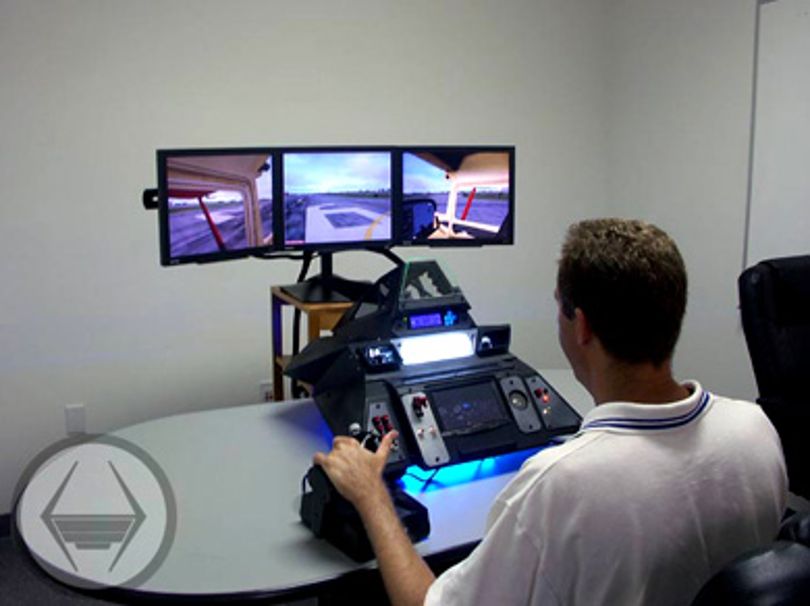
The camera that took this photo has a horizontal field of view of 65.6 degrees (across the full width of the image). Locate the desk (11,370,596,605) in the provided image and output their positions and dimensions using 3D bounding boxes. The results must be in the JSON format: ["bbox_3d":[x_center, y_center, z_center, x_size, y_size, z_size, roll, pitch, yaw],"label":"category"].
[{"bbox_3d":[-0.365,0.650,1.877,1.274,0.314,0.601,-11,26,-28],"label":"desk"}]

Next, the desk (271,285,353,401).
[{"bbox_3d":[-0.427,0.226,2.841,0.261,0.523,0.269,16,16,31],"label":"desk"}]
